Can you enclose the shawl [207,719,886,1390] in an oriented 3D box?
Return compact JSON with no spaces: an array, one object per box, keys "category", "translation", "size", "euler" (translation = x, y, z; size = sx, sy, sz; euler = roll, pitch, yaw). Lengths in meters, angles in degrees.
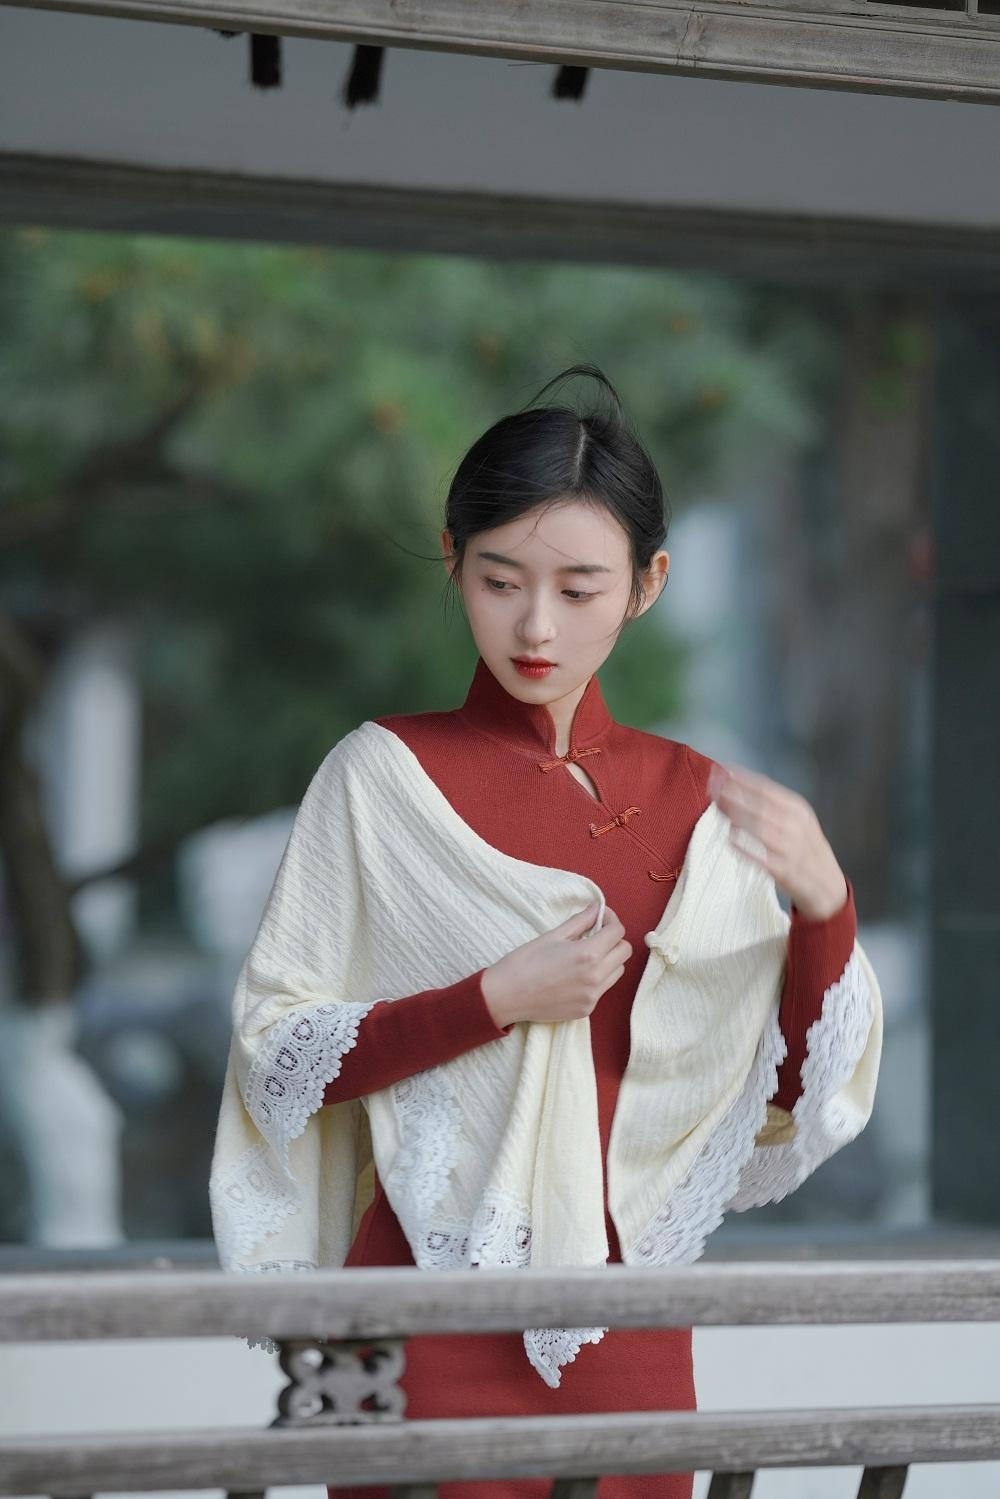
[{"category":"shawl","translation":[0.047,0.327,2.194],"size":[0.777,0.738,0.359],"euler":[-2,-4,8]}]
